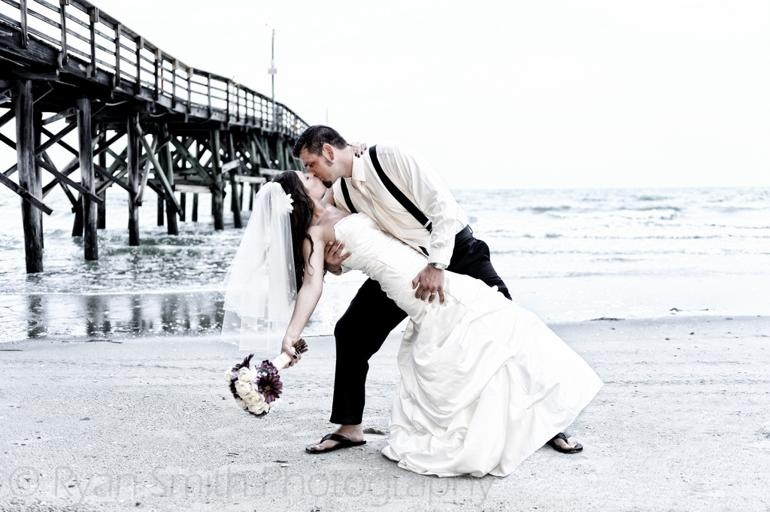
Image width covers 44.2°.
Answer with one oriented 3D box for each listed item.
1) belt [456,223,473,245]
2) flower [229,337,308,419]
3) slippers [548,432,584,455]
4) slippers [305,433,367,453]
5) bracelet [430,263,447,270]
[{"bbox_3d":[0.745,-0.198,9.137,0.169,0.123,0.193,-17,5,8],"label":"belt"},{"bbox_3d":[-1.099,1.055,8.824,0.575,0.439,0.720,32,55,20],"label":"flower"},{"bbox_3d":[1.683,1.759,8.861,0.311,0.089,0.166,12,13,44],"label":"slippers"},{"bbox_3d":[-0.481,1.769,8.952,0.534,0.120,0.181,0,-7,-18],"label":"slippers"},{"bbox_3d":[0.475,0.099,8.743,0.097,0.040,0.069,5,4,9],"label":"bracelet"}]
